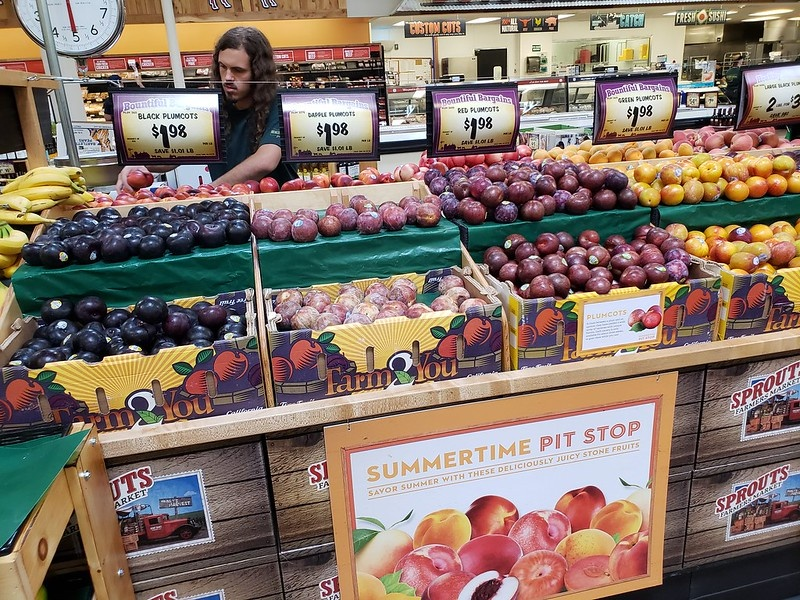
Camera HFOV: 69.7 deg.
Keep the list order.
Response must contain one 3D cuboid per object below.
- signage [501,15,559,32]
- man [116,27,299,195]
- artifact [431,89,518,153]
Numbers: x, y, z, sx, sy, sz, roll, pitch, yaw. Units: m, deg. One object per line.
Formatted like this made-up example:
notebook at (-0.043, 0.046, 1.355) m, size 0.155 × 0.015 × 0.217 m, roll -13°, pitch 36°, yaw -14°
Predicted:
signage at (2.996, -6.464, 13.467) m, size 1.432 × 0.344 × 0.565 m, roll -17°, pitch 22°, yaw -27°
man at (-1.203, -1.114, 3.724) m, size 1.116 × 1.164 × 0.830 m, roll 0°, pitch 24°, yaw -18°
artifact at (0.438, -0.991, 3.203) m, size 0.564 × 0.361 × 0.085 m, roll 9°, pitch 19°, yaw 32°
